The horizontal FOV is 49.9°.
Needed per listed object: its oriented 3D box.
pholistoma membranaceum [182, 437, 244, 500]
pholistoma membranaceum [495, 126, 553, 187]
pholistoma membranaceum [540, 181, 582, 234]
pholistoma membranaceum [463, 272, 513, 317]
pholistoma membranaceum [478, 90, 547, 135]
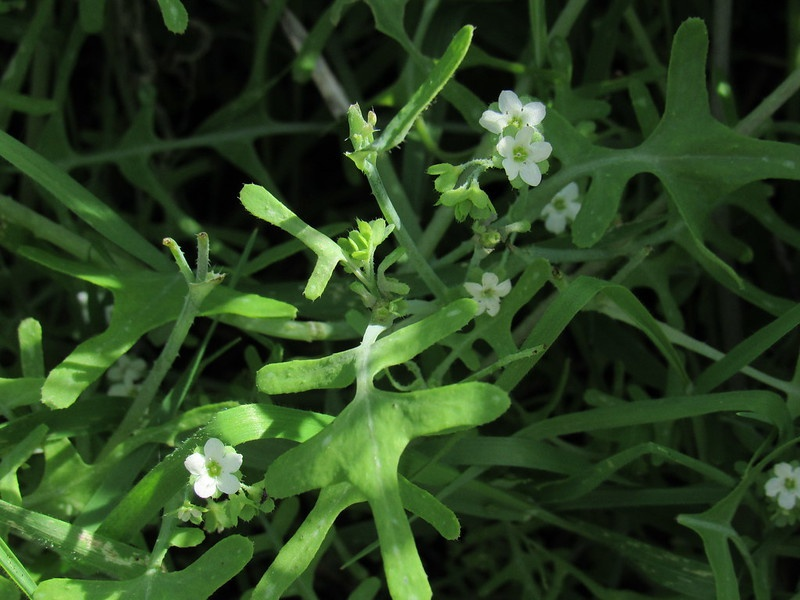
[{"bbox_3d":[-0.149,0.138,0.699,0.044,0.015,0.053,-11,53,-21],"label":"pholistoma membranaceum"},{"bbox_3d":[0.103,-0.117,0.709,0.038,0.038,0.036,-26,51,-26],"label":"pholistoma membranaceum"},{"bbox_3d":[0.170,-0.093,0.885,0.046,0.055,0.017,2,21,-9],"label":"pholistoma membranaceum"},{"bbox_3d":[0.077,-0.007,0.759,0.029,0.028,0.033,-30,54,-29],"label":"pholistoma membranaceum"},{"bbox_3d":[0.096,-0.154,0.716,0.040,0.012,0.044,-12,74,-6],"label":"pholistoma membranaceum"}]
